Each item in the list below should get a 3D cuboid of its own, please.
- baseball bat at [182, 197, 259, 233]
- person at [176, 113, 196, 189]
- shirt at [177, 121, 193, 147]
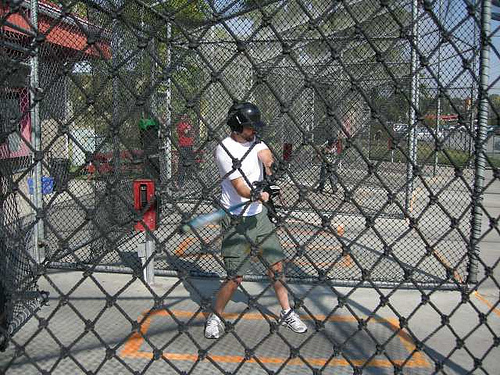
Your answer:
[{"bbox_3d":[-0.237,0.216,5.644,0.099,0.124,1.393,-34,-7,28],"label":"baseball bat"},{"bbox_3d":[-1.333,-0.965,12.225,0.380,1.442,0.354,1,36,7],"label":"person"},{"bbox_3d":[-1.312,-1.050,12.094,0.331,0.502,0.703,3,0,-7],"label":"shirt"}]
